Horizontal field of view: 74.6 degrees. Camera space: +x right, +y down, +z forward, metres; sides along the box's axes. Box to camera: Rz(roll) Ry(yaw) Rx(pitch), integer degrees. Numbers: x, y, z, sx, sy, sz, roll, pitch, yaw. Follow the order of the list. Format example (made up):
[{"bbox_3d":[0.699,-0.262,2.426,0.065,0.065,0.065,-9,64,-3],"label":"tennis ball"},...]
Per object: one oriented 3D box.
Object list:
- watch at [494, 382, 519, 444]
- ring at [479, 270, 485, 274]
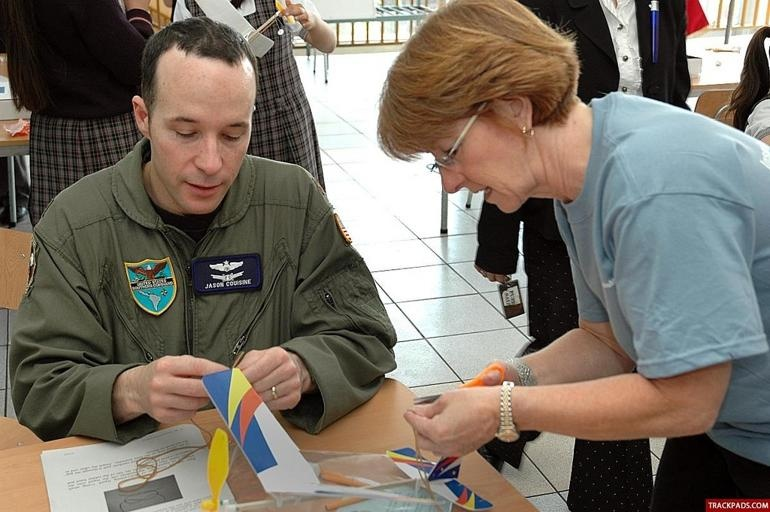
[{"bbox_3d":[0.242,0.311,1.016,0.059,0.099,0.087,1,-1,12],"label":"watch"},{"bbox_3d":[0.441,0.070,2.274,0.013,0.011,0.031,14,-2,35],"label":"ring"}]
